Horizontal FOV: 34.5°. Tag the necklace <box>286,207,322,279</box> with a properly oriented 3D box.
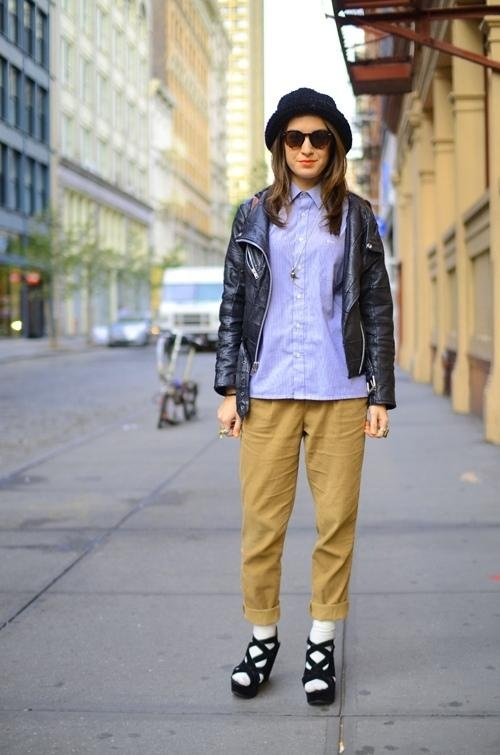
[{"bbox_3d":[0.156,-0.394,2.274,0.060,0.236,0.019,11,-12,10],"label":"necklace"}]

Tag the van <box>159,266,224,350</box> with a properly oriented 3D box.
[{"bbox_3d":[-1.931,-2.489,26.209,2.288,2.447,4.193,0,-1,0],"label":"van"}]

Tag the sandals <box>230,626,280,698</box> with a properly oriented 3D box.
[{"bbox_3d":[0.022,0.855,2.434,0.069,0.100,0.226,3,8,17],"label":"sandals"}]

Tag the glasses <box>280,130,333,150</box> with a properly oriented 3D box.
[{"bbox_3d":[0.167,-0.682,2.310,0.124,0.058,0.037,3,3,4],"label":"glasses"}]

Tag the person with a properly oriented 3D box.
[{"bbox_3d":[0.151,0.046,2.361,0.529,1.774,0.252,2,3,9],"label":"person"}]
